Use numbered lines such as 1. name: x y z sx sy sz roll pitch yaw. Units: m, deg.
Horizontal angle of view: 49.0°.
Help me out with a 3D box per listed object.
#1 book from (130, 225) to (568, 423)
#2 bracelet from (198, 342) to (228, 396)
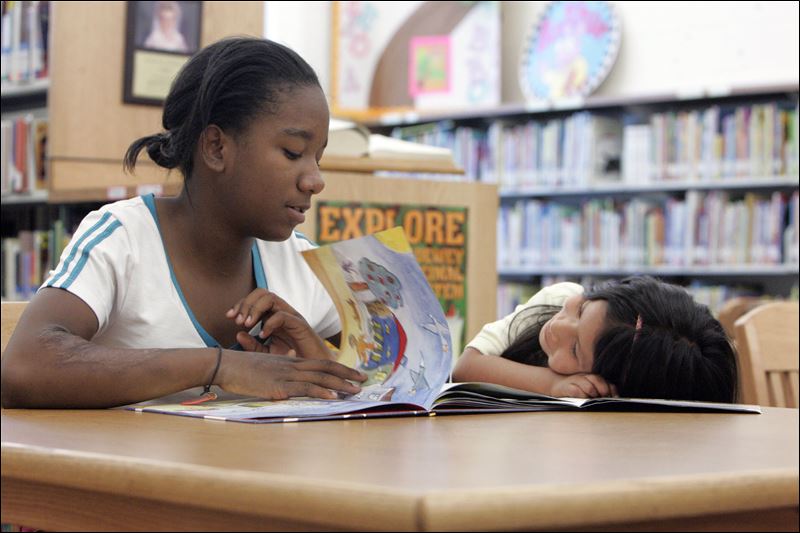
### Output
1. book: -0.054 0.101 1.418 0.373 0.162 0.356 -9 2 -29
2. bracelet: -0.297 0.175 1.482 0.019 0.079 0.059 32 -28 -35
